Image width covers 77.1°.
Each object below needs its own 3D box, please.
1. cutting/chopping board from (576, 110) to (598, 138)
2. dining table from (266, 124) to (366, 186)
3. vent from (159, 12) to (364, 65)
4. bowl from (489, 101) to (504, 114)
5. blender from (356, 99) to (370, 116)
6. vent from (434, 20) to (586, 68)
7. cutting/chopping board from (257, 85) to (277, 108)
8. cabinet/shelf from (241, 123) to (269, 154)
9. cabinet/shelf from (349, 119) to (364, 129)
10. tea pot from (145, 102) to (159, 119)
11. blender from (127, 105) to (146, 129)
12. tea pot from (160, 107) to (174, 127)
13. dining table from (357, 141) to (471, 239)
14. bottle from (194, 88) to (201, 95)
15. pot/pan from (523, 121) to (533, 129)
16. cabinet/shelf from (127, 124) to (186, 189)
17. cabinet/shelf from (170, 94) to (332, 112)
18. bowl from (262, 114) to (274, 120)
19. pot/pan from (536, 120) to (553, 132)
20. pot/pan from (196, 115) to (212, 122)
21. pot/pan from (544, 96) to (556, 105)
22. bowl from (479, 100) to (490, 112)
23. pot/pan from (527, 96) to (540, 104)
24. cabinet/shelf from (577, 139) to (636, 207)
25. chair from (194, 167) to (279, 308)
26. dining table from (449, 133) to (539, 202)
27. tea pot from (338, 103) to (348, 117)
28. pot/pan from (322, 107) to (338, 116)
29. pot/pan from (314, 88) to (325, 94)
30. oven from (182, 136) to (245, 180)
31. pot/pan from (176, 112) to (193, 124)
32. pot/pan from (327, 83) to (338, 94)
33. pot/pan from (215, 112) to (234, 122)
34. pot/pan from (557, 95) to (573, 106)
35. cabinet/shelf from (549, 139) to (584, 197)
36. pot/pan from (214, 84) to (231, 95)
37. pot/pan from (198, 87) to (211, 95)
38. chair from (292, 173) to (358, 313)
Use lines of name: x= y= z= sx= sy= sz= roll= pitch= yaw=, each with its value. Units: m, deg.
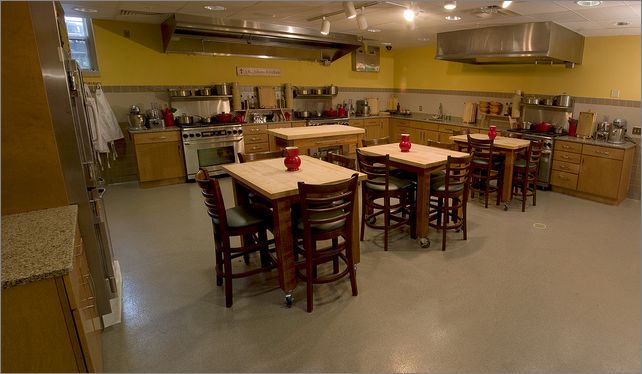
cutting/chopping board: x=5.030 y=-1.170 z=7.614 sx=0.163 sy=0.542 sz=0.329 roll=4 pitch=4 yaw=-28
dining table: x=-0.029 y=-0.705 z=7.934 sx=1.693 sy=0.967 sz=0.891 roll=-10 pitch=20 yaw=-27
vent: x=-1.250 y=-3.091 z=8.587 sx=3.909 sy=0.857 sz=1.162 roll=-9 pitch=19 yaw=-27
bowl: x=3.813 y=-1.710 z=8.715 sx=0.273 sy=0.231 sz=0.275 roll=-2 pitch=14 yaw=0
blender: x=1.088 y=-2.080 z=10.589 sx=0.293 sy=0.516 sz=0.521 roll=10 pitch=18 yaw=29
vent: x=3.856 y=-2.879 z=8.338 sx=1.421 sy=0.566 sz=2.532 roll=-1 pitch=14 yaw=-33
cutting/chopping board: x=-1.245 y=-2.061 z=9.280 sx=0.505 sy=0.484 sz=0.144 roll=-12 pitch=15 yaw=-37
cabinet/shelf: x=-1.460 y=-0.926 z=9.078 sx=0.583 sy=0.812 sz=0.543 roll=-7 pitch=-20 yaw=-10
cabinet/shelf: x=0.889 y=-1.515 z=9.987 sx=0.360 sy=0.315 sz=0.197 roll=-10 pitch=20 yaw=-29
tea pot: x=-3.435 y=-1.568 z=8.233 sx=0.277 sy=0.303 sz=0.332 roll=-8 pitch=19 yaw=-22
blender: x=-3.719 y=-1.429 z=8.216 sx=0.424 sy=0.545 sz=0.512 roll=-4 pitch=11 yaw=-23
tea pot: x=-3.186 y=-1.459 z=8.366 sx=0.223 sy=0.365 sz=0.340 roll=-6 pitch=18 yaw=-17
dining table: x=1.570 y=0.106 z=6.607 sx=1.512 sy=1.185 sz=1.465 roll=-16 pitch=25 yaw=-35
bottle: x=-2.594 y=-1.986 z=8.455 sx=0.135 sy=0.123 sz=0.072 roll=9 pitch=21 yaw=20
pot/pan: x=4.233 y=-1.248 z=8.215 sx=0.200 sy=0.131 sz=0.229 roll=4 pitch=18 yaw=15
cabinet/shelf: x=-3.383 y=-0.630 z=8.398 sx=1.013 sy=1.183 sz=0.877 roll=-11 pitch=12 yaw=-33
cabinet/shelf: x=-1.489 y=-1.900 z=9.201 sx=3.725 sy=0.500 sz=0.390 roll=-9 pitch=19 yaw=-26
bowl: x=-1.225 y=-1.645 z=9.473 sx=0.225 sy=0.140 sz=0.174 roll=-3 pitch=17 yaw=-9
pot/pan: x=4.453 y=-1.205 z=7.969 sx=0.278 sy=0.132 sz=0.209 roll=-16 pitch=19 yaw=-37
pot/pan: x=-2.515 y=-1.447 z=8.624 sx=0.288 sy=0.108 sz=0.172 roll=-5 pitch=17 yaw=-22
pot/pan: x=4.599 y=-1.690 z=8.064 sx=0.204 sy=0.124 sz=0.200 roll=-16 pitch=23 yaw=-25
bowl: x=3.607 y=-1.765 z=8.862 sx=0.232 sy=0.239 sz=0.226 roll=-4 pitch=17 yaw=1
pot/pan: x=4.313 y=-1.743 z=8.172 sx=0.170 sy=0.093 sz=0.168 roll=0 pitch=8 yaw=9
cabinet/shelf: x=5.092 y=-0.241 z=7.226 sx=0.777 sy=1.036 sz=0.334 roll=8 pitch=19 yaw=25
chair: x=-1.065 y=0.589 z=5.160 sx=0.873 sy=1.638 sz=0.837 roll=-7 pitch=18 yaw=-18
dining table: x=3.319 y=-0.506 z=7.624 sx=1.295 sy=1.183 sz=1.252 roll=-11 pitch=17 yaw=-34
tea pot: x=0.567 y=-1.946 z=10.220 sx=0.240 sy=0.287 sz=0.638 roll=0 pitch=17 yaw=1
pot/pan: x=0.286 y=-1.856 z=9.975 sx=0.319 sy=0.158 sz=0.230 roll=-10 pitch=16 yaw=-38
pot/pan: x=-0.047 y=-2.342 z=9.906 sx=0.151 sy=0.145 sz=0.309 roll=9 pitch=20 yaw=29
oven: x=-2.508 y=-0.721 z=8.811 sx=0.959 sy=1.079 sz=1.397 roll=2 pitch=10 yaw=39
pot/pan: x=-2.853 y=-1.418 z=8.424 sx=0.329 sy=0.195 sz=0.489 roll=-6 pitch=18 yaw=-17
pot/pan: x=0.297 y=-2.455 z=10.137 sx=0.225 sy=0.252 sz=0.400 roll=2 pitch=17 yaw=8
pot/pan: x=-2.084 y=-1.493 z=8.647 sx=0.211 sy=0.117 sz=0.286 roll=0 pitch=4 yaw=14
pot/pan: x=4.765 y=-1.677 z=7.867 sx=0.240 sy=0.223 sz=0.232 roll=4 pitch=13 yaw=19
cabinet/shelf: x=4.825 y=-0.391 z=7.647 sx=0.510 sy=1.042 sz=0.690 roll=-7 pitch=16 yaw=-21
pot/pan: x=-2.128 y=-2.114 z=8.733 sx=0.267 sy=0.190 sz=0.266 roll=4 pitch=20 yaw=17
pot/pan: x=-2.455 y=-1.997 z=8.476 sx=0.183 sy=0.107 sz=0.176 roll=-2 pitch=9 yaw=-16
chair: x=0.067 y=0.628 z=5.160 sx=0.860 sy=1.595 sz=0.843 roll=-6 pitch=18 yaw=-16
